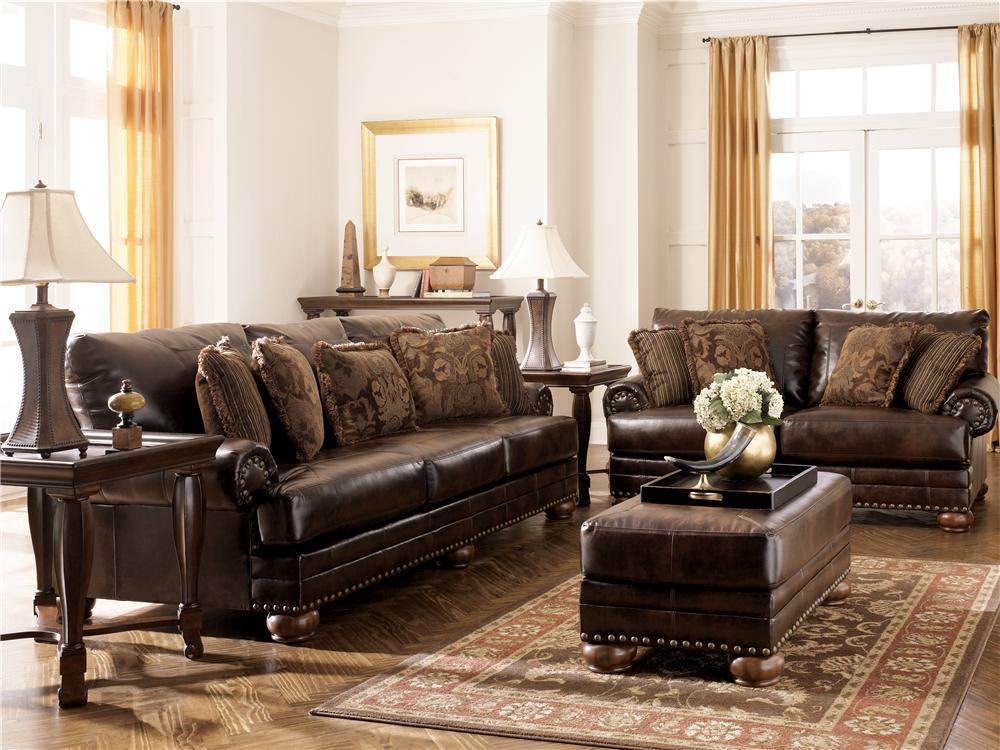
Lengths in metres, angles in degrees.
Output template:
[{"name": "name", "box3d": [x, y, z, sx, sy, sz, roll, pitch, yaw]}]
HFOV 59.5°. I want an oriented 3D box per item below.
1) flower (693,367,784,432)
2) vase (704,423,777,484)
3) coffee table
[{"name": "flower", "box3d": [0.917, 0.099, 3.475, 0.305, 0.189, 0.284, -10, 3, -29]}, {"name": "vase", "box3d": [0.940, 0.278, 3.479, 0.303, 0.248, 0.289, -2, 6, 20]}, {"name": "coffee table", "box3d": [0.708, 0.483, 2.999, 0.628, 0.425, 1.031, -1, 2, 27]}]
